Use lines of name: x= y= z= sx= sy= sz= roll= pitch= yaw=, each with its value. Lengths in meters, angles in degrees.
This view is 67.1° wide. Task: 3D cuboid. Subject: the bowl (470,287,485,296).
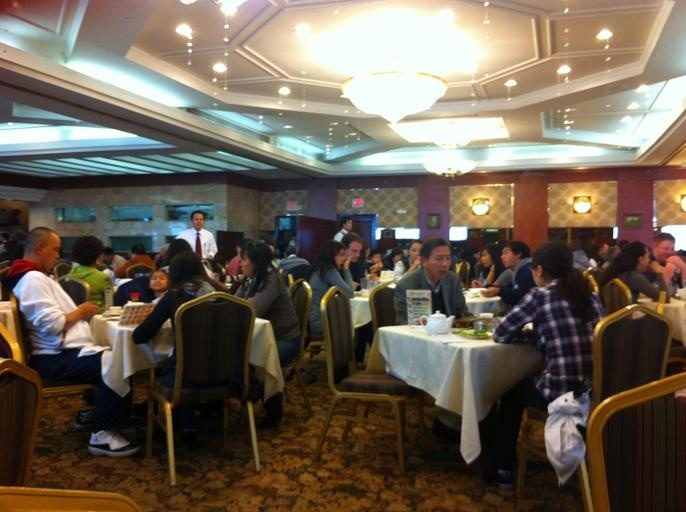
bowl: x=1.628 y=0.437 z=6.336 sx=0.142 sy=0.042 sz=0.107 roll=-4 pitch=4 yaw=-24

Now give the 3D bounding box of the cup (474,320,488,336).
cup: x=0.872 y=0.447 z=3.255 sx=0.077 sy=0.084 sz=0.077 roll=1 pitch=-6 yaw=0

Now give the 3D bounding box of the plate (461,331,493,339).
plate: x=0.823 y=0.482 z=3.195 sx=0.183 sy=0.029 sz=0.149 roll=1 pitch=5 yaw=13

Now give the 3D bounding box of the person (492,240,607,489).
person: x=1.160 y=0.625 z=2.997 sx=0.565 sy=1.405 sz=0.378 roll=3 pitch=7 yaw=26

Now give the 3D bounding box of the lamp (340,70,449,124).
lamp: x=0.568 y=-1.843 z=5.880 sx=0.719 sy=0.250 sz=0.716 roll=-2 pitch=-4 yaw=22

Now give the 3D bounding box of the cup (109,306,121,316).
cup: x=-1.691 y=0.408 z=3.852 sx=0.068 sy=0.052 sz=0.080 roll=0 pitch=-14 yaw=-5

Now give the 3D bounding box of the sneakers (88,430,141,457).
sneakers: x=-1.547 y=1.255 z=3.526 sx=0.360 sy=0.157 sz=0.147 roll=3 pitch=-6 yaw=4

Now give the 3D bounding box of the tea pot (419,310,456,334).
tea pot: x=0.607 y=0.421 z=3.321 sx=0.193 sy=0.119 sz=0.128 roll=1 pitch=5 yaw=33

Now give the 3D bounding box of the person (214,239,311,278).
person: x=-1.018 y=0.115 z=6.789 sx=1.037 sy=0.333 sz=0.823 roll=2 pitch=6 yaw=8

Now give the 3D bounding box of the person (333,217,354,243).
person: x=-0.007 y=-0.530 z=10.093 sx=0.311 sy=0.303 sz=0.963 roll=24 pitch=10 yaw=-1

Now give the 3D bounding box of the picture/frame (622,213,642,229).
picture/frame: x=6.278 y=-0.765 z=11.228 sx=0.344 sy=0.324 sz=0.034 roll=2 pitch=1 yaw=17

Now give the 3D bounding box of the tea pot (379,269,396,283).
tea pot: x=0.576 y=0.264 z=6.804 sx=0.177 sy=0.162 sz=0.175 roll=1 pitch=-6 yaw=0

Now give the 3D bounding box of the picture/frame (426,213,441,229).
picture/frame: x=2.170 y=-0.841 z=12.332 sx=0.405 sy=0.390 sz=0.042 roll=0 pitch=-4 yaw=12

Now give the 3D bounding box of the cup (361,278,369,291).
cup: x=0.265 y=0.332 z=6.249 sx=0.113 sy=0.170 sz=0.111 roll=0 pitch=-6 yaw=0

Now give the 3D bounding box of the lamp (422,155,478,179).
lamp: x=1.996 y=-1.694 z=9.715 sx=0.899 sy=0.308 sz=0.383 roll=1 pitch=5 yaw=7

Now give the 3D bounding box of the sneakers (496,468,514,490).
sneakers: x=0.945 y=1.300 z=3.047 sx=0.081 sy=0.117 sz=0.125 roll=0 pitch=-13 yaw=10

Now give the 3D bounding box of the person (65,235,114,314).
person: x=-2.231 y=0.223 z=4.647 sx=0.387 sy=0.787 sz=0.280 roll=15 pitch=25 yaw=29

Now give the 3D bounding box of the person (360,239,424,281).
person: x=0.844 y=0.045 z=7.484 sx=0.499 sy=0.448 sz=1.015 roll=9 pitch=14 yaw=31
